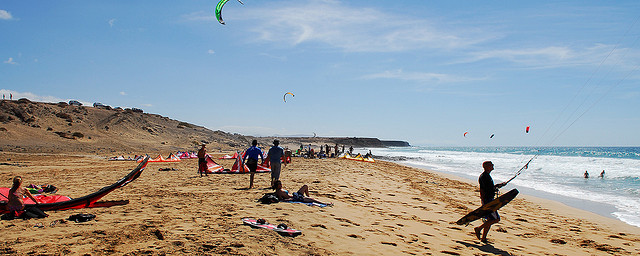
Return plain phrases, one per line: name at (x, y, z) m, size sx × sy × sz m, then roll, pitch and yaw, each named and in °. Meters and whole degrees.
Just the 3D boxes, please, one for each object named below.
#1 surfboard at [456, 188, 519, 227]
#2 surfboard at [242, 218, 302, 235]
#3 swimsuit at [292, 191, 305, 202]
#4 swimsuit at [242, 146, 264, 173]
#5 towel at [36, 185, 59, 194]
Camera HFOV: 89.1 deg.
surfboard at (11.221, 5.338, 21.596) m, size 5.586 × 0.929 × 0.669 m, roll -23°, pitch 13°, yaw 8°
surfboard at (-2.963, 5.887, 19.407) m, size 3.304 × 0.527 × 0.615 m, roll 6°, pitch 9°, yaw 13°
swimsuit at (-1.404, 4.520, 21.576) m, size 1.050 × 0.408 × 1.343 m, roll 0°, pitch -3°, yaw -4°
swimsuit at (-4.864, 2.236, 23.638) m, size 1.305 × 1.901 × 0.536 m, roll 5°, pitch -4°, yaw -8°
towel at (-18.974, 4.149, 22.560) m, size 1.105 × 0.234 × 0.664 m, roll 10°, pitch 0°, yaw 14°
